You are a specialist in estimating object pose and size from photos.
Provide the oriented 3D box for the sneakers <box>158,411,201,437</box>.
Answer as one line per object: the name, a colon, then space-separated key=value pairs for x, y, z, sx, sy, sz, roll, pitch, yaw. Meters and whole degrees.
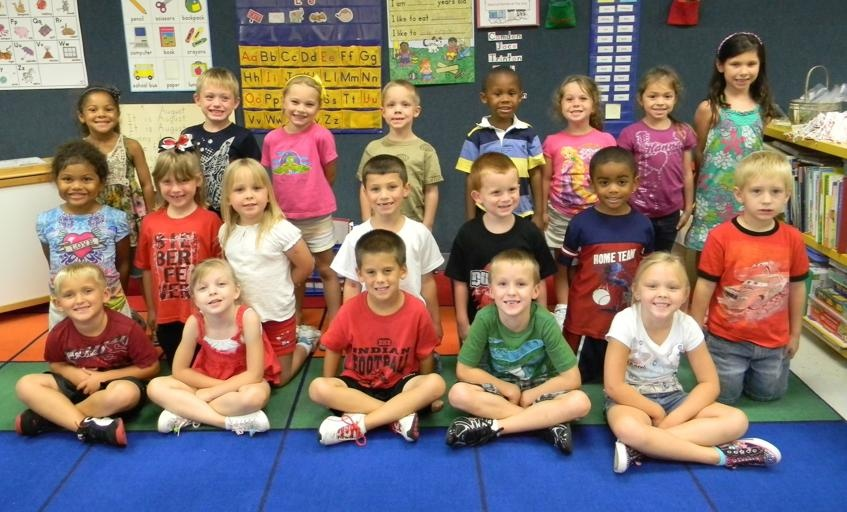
sneakers: x=-1.431 y=1.000 z=4.009 sx=0.289 sy=0.107 sz=0.107 roll=5 pitch=-8 yaw=-13

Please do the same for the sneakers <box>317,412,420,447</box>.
sneakers: x=-0.314 y=0.989 z=3.978 sx=0.619 sy=0.200 sz=0.259 roll=-5 pitch=4 yaw=-9

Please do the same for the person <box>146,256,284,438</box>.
person: x=-1.326 y=0.548 z=4.040 sx=0.695 sy=0.935 sz=0.573 roll=-5 pitch=23 yaw=-5

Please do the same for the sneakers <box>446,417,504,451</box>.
sneakers: x=0.289 y=1.013 z=3.942 sx=0.375 sy=0.130 sz=0.149 roll=-9 pitch=9 yaw=-9

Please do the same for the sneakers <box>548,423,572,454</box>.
sneakers: x=0.789 y=1.048 z=3.860 sx=0.128 sy=0.129 sz=0.131 roll=-4 pitch=22 yaw=-3

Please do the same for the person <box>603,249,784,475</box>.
person: x=1.524 y=0.606 z=4.305 sx=1.095 sy=1.163 sz=1.238 roll=-3 pitch=3 yaw=-4

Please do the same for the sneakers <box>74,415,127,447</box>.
sneakers: x=-1.876 y=1.028 z=3.911 sx=0.293 sy=0.132 sz=0.126 roll=-5 pitch=4 yaw=11

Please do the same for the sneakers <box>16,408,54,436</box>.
sneakers: x=-2.336 y=0.999 z=4.041 sx=0.237 sy=0.106 sz=0.099 roll=0 pitch=4 yaw=-29

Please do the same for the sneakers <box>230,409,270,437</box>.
sneakers: x=-1.043 y=0.997 z=3.987 sx=0.224 sy=0.116 sz=0.087 roll=-3 pitch=30 yaw=1

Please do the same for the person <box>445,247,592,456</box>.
person: x=0.550 y=0.539 z=3.931 sx=0.818 sy=1.025 sz=0.628 roll=-1 pitch=23 yaw=5

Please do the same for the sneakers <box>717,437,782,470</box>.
sneakers: x=1.807 y=1.108 z=3.809 sx=0.409 sy=0.136 sz=0.179 roll=-5 pitch=10 yaw=12

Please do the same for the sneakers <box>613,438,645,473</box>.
sneakers: x=1.138 y=1.118 z=3.735 sx=0.113 sy=0.079 sz=0.249 roll=1 pitch=-2 yaw=2

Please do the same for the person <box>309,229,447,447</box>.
person: x=-0.288 y=0.486 z=3.972 sx=0.844 sy=1.090 sz=0.714 roll=-16 pitch=26 yaw=-28
